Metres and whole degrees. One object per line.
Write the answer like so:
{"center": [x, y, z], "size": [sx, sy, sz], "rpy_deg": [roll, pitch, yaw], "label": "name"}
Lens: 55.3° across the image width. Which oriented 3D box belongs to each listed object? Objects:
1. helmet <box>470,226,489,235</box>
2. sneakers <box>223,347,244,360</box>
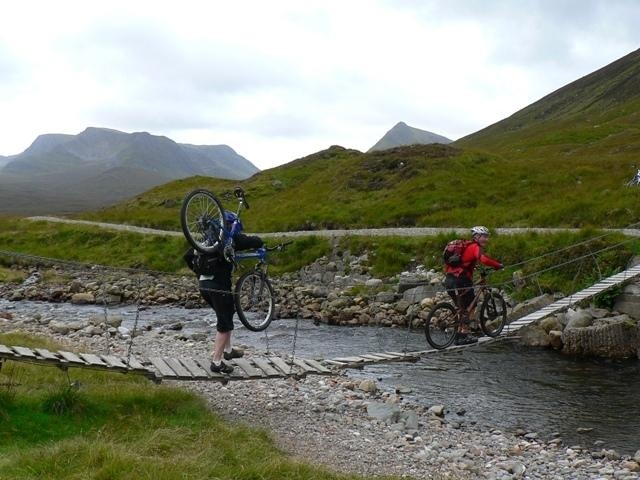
{"center": [4.873, -0.265, 19.070], "size": [0.661, 0.212, 0.454], "rpy_deg": [-4, 1, 32], "label": "helmet"}
{"center": [-2.512, 3.312, 17.836], "size": [0.581, 0.259, 0.297], "rpy_deg": [-8, 6, -9], "label": "sneakers"}
